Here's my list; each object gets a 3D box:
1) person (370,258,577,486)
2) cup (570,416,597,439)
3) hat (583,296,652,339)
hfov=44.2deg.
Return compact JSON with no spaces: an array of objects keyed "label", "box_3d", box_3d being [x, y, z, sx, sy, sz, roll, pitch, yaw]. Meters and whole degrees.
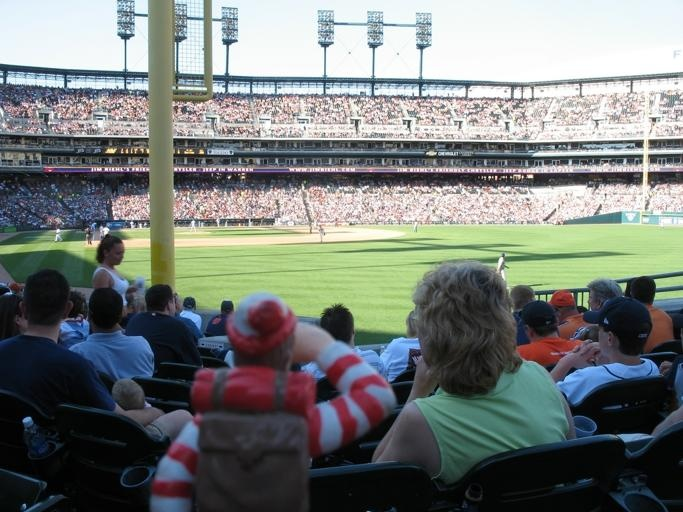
[{"label":"person","box_3d":[0.856,0.710,5.365,1.511,1.344,0.989,-7,2,-36]},{"label":"cup","box_3d":[1.582,1.111,5.463,0.141,0.104,0.145,0,2,0]},{"label":"hat","box_3d":[1.987,0.438,6.025,0.273,0.201,0.363,-5,22,-26]}]
